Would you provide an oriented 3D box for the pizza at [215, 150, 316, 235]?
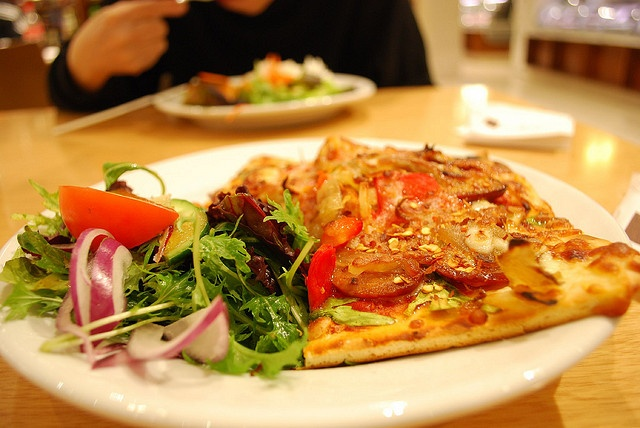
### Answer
[{"bbox_3d":[-0.231,-0.124,2.342,0.431,0.147,0.399,8,31,13],"label":"pizza"}]
